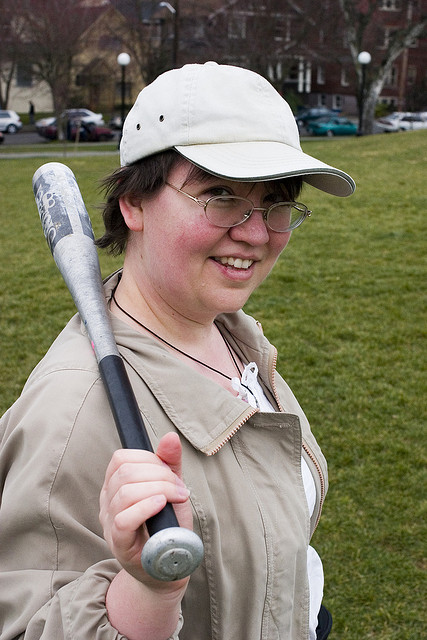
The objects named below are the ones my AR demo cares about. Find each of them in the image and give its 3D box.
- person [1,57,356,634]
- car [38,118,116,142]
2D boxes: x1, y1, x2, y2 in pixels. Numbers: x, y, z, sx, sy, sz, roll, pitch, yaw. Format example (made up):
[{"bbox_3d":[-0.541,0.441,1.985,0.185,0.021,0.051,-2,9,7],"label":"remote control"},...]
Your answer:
[{"bbox_3d":[-0.085,0.138,2.123,0.737,1.472,1.108,3,13,12],"label":"person"},{"bbox_3d":[-4.292,-6.051,28.629,1.911,0.735,3.198,-4,13,-20],"label":"car"}]
